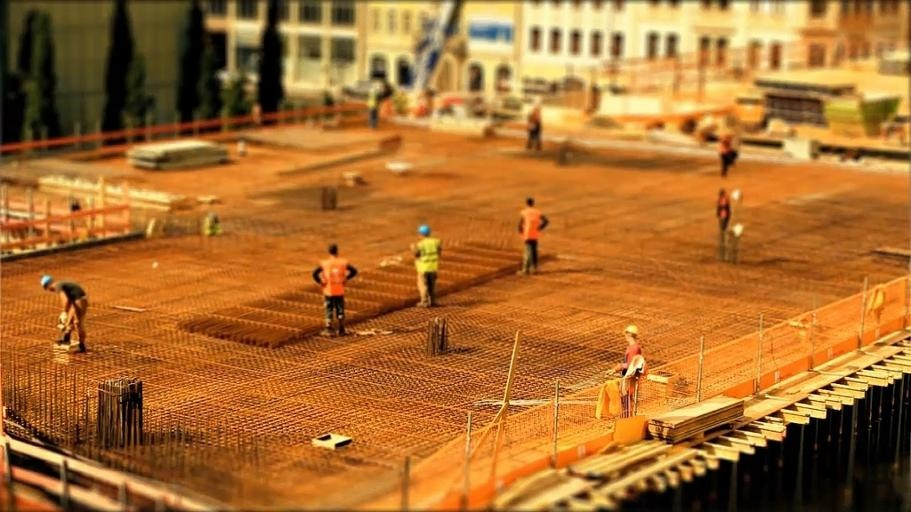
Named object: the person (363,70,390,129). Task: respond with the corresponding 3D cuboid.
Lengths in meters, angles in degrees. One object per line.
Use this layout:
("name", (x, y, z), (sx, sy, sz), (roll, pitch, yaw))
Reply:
("person", (-3.350, -6.634, 68.643), (1.201, 2.413, 0.425), (11, 11, 36))

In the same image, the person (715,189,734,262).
("person", (10.026, -1.196, 60.091), (0.645, 2.524, 1.513), (6, 9, 9))

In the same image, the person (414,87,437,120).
("person", (-1.205, -6.355, 67.178), (0.481, 1.153, 0.934), (30, 7, -19))

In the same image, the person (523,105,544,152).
("person", (3.094, -5.002, 62.860), (0.295, 1.855, 0.854), (-2, 11, -34))

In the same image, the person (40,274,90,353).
("person", (-12.586, 1.877, 51.824), (1.271, 2.424, 1.285), (2, 9, -12))

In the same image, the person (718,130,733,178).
("person", (10.253, -3.793, 60.510), (0.577, 1.674, 0.293), (5, 10, 6))

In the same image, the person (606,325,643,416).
("person", (5.183, 3.480, 47.631), (0.885, 2.660, 1.020), (5, 9, 7))
